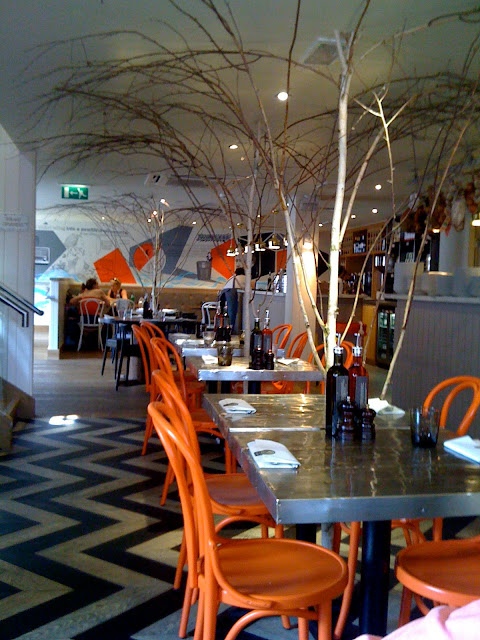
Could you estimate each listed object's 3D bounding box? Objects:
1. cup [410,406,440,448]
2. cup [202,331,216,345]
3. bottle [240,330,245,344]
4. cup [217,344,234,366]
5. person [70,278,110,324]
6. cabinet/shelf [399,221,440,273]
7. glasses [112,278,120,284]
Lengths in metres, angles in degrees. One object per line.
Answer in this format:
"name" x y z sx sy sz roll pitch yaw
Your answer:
"cup" 0.496 0.298 1.425 0.094 0.103 0.096 0 -7 0
"cup" -0.243 0.134 4.024 0.105 0.109 0.101 0 -6 0
"bottle" 0.018 0.131 4.091 0.082 0.122 0.083 1 -5 0
"cup" -0.084 0.195 2.911 0.117 0.123 0.111 0 3 0
"person" -2.918 -0.343 10.326 0.917 1.090 0.581 -7 21 -9
"cabinet/shelf" 3.003 -1.237 8.751 0.610 0.832 2.647 1 2 16
"glasses" -2.433 -0.783 10.010 0.114 0.146 0.077 0 14 -2
